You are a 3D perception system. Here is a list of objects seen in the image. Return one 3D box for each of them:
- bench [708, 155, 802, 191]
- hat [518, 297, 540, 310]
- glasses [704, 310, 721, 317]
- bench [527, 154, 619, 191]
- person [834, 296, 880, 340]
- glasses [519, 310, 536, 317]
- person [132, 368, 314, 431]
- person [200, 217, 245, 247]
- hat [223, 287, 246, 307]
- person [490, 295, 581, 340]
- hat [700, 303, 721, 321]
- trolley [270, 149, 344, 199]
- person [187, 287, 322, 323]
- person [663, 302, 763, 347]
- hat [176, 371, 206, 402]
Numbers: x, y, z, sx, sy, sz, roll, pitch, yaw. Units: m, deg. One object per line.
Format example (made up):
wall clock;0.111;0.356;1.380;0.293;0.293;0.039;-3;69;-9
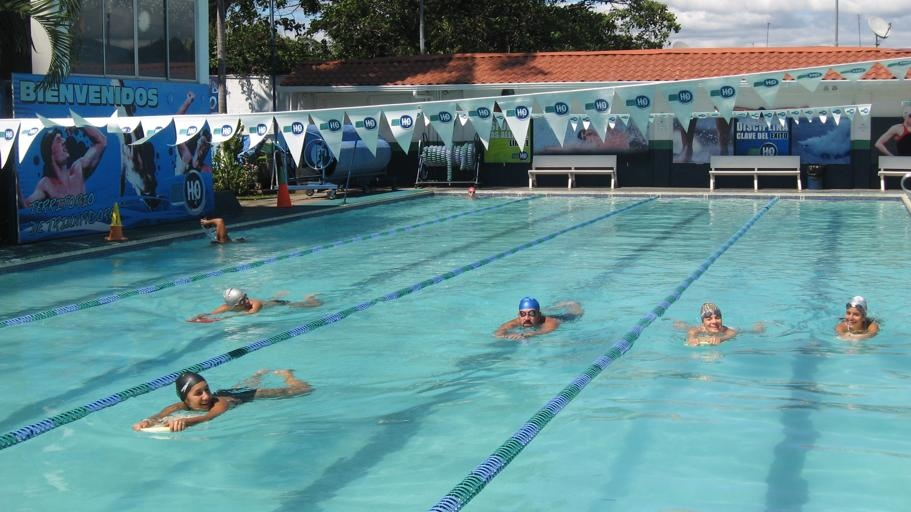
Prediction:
bench;10.882;-3.044;25.358;3.118;1.080;1.062;2;5;21
hat;1.098;0.704;10.314;0.229;0.125;0.209;1;0;-39
glasses;3.686;0.825;9.981;0.261;0.090;0.083;-5;9;-14
bench;4.439;-3.213;26.593;3.266;1.114;1.168;1;16;13
person;5.923;0.875;10.250;0.604;0.533;1.124;5;14;41
glasses;1.061;0.846;10.244;0.238;0.109;0.109;-2;9;4
person;-2.751;1.538;8.382;0.758;0.376;1.567;-1;5;31
person;-5.486;-0.591;16.276;1.054;0.599;0.617;-9;11;-39
hat;-3.559;0.665;11.244;0.273;0.233;0.320;2;18;5
person;1.276;0.849;10.641;0.706;0.524;1.622;4;11;41
hat;3.679;0.807;10.098;0.296;0.176;0.274;-1;-4;1
trolley;-5.482;-2.595;24.097;2.114;1.328;1.473;-4;7;34
person;-3.047;0.788;11.564;2.773;0.502;0.607;-3;7;-25
person;3.776;0.963;10.316;1.277;0.428;1.317;2;12;19
hat;-3.074;1.525;8.056;0.345;0.328;0.270;-8;28;44
